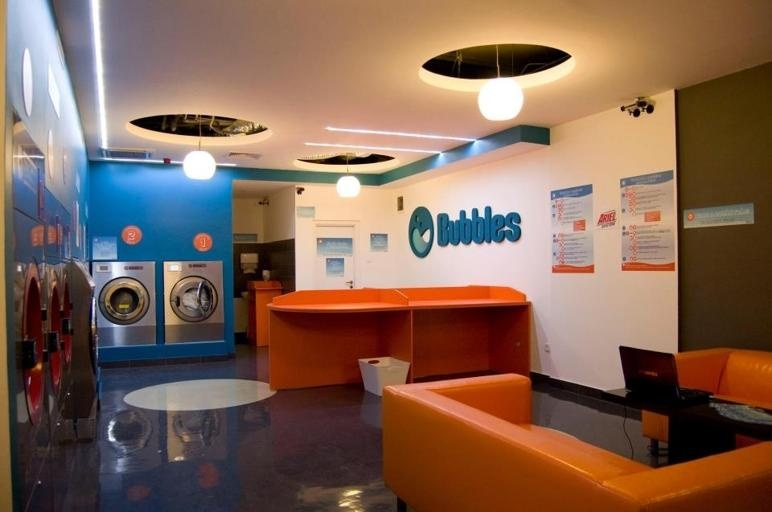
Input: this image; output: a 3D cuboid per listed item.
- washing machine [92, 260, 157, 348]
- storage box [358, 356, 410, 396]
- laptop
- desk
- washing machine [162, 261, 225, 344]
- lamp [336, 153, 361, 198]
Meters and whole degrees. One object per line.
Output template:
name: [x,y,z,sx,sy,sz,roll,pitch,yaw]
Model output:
washing machine: [-4.411,0.752,9.156,1.058,1.518,0.982,0,7,-7]
storage box: [-0.055,1.507,7.209,0.643,0.448,0.694,3,-7,-31]
laptop: [2.334,0.959,4.527,0.571,0.378,0.623,0,-1,-8]
desk: [0.141,1.134,7.474,3.596,1.382,1.100,0,-3,-17]
washing machine: [-3.535,0.827,9.488,1.072,1.427,1.062,1,-8,-36]
lamp: [-0.663,-1.401,9.282,0.380,0.688,0.382,-10,-26,12]
